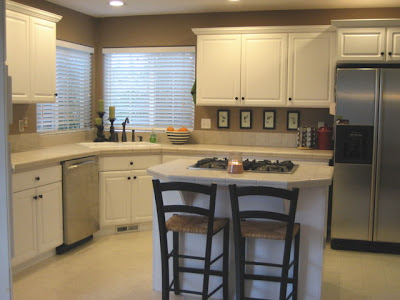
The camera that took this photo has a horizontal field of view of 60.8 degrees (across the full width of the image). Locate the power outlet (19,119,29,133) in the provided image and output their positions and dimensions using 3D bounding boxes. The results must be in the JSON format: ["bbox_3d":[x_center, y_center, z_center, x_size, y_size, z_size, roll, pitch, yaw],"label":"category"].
[{"bbox_3d":[-2.130,-0.291,4.156,0.052,0.166,0.162,2,5,19],"label":"power outlet"}]

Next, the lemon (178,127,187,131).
[{"bbox_3d":[-0.232,-0.291,4.864,0.067,0.052,0.085,8,10,44],"label":"lemon"}]

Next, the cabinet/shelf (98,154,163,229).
[{"bbox_3d":[-0.864,0.479,4.090,0.904,1.094,0.537,-1,2,-24],"label":"cabinet/shelf"}]

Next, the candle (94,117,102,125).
[{"bbox_3d":[-1.426,-0.413,4.827,0.107,0.106,0.112,3,6,-1],"label":"candle"}]

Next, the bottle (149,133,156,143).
[{"bbox_3d":[-0.681,-0.168,4.973,0.114,0.218,0.117,0,0,0],"label":"bottle"}]

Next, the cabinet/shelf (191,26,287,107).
[{"bbox_3d":[0.562,-1.127,4.562,1.029,0.833,0.384,1,3,10],"label":"cabinet/shelf"}]

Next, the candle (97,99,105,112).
[{"bbox_3d":[-1.378,-0.619,4.802,0.070,0.154,0.103,-1,10,-5],"label":"candle"}]

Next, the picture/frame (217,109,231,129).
[{"bbox_3d":[0.348,-0.462,4.969,0.266,0.386,0.031,1,3,7],"label":"picture/frame"}]

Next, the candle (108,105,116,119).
[{"bbox_3d":[-1.246,-0.527,4.859,0.068,0.178,0.086,-4,10,-26],"label":"candle"}]

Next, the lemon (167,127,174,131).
[{"bbox_3d":[-0.413,-0.297,4.846,0.077,0.042,0.078,-1,5,-24],"label":"lemon"}]

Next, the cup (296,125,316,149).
[{"bbox_3d":[1.398,-0.162,4.519,0.217,0.286,0.140,2,10,11],"label":"cup"}]

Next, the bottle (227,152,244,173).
[{"bbox_3d":[0.280,0.112,2.850,0.142,0.162,0.146,1,-1,2],"label":"bottle"}]

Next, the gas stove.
[{"bbox_3d":[0.402,0.119,3.108,0.918,0.060,0.537,3,10,14],"label":"gas stove"}]
